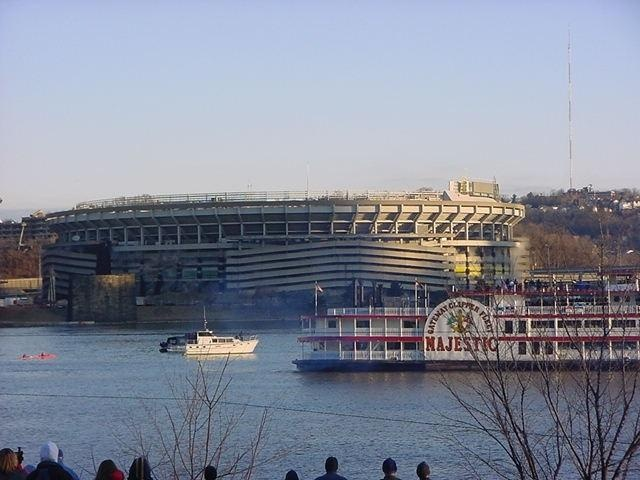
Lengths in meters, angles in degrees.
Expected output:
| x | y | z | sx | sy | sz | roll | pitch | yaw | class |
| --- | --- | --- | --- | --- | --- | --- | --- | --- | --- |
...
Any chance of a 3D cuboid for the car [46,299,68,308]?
| x | y | z | sx | sy | sz | roll | pitch | yaw | class |
| --- | --- | --- | --- | --- | --- | --- | --- | --- | --- |
| -34.332 | 8.455 | 231.379 | 2.471 | 0.683 | 1.436 | 0 | 0 | -12 | car |
